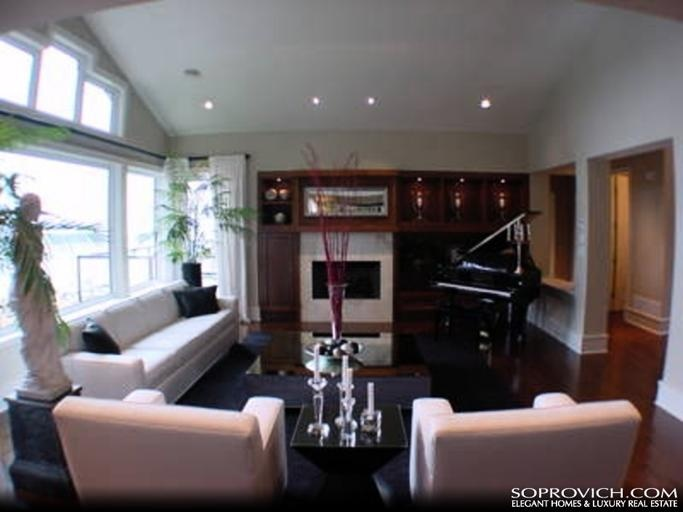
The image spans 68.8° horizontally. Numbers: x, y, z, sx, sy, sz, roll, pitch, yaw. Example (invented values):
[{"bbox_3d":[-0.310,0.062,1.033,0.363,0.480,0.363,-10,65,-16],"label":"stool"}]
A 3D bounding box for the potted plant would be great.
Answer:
[{"bbox_3d":[-1.920,-0.506,6.982,1.177,1.748,0.789,-3,5,-22],"label":"potted plant"}]

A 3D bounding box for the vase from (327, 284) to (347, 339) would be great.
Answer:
[{"bbox_3d":[-0.039,0.513,4.655,0.144,0.578,0.380,-2,5,-1],"label":"vase"}]

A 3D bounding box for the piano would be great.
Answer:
[{"bbox_3d":[1.838,0.245,6.192,1.247,1.529,0.796,3,6,42],"label":"piano"}]

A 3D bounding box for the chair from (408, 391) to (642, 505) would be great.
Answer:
[{"bbox_3d":[1.113,1.183,3.009,0.757,0.532,0.449,-2,15,2],"label":"chair"}]

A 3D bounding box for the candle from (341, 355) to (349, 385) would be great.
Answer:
[{"bbox_3d":[0.026,0.758,3.323,0.038,0.196,0.075,-2,5,-5],"label":"candle"}]

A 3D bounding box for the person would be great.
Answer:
[{"bbox_3d":[-2.225,0.294,3.666,0.349,1.501,0.254,-5,6,-35],"label":"person"}]

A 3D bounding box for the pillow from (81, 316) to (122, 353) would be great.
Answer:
[{"bbox_3d":[-2.148,0.744,4.403,0.354,0.266,0.156,-1,5,8],"label":"pillow"}]
